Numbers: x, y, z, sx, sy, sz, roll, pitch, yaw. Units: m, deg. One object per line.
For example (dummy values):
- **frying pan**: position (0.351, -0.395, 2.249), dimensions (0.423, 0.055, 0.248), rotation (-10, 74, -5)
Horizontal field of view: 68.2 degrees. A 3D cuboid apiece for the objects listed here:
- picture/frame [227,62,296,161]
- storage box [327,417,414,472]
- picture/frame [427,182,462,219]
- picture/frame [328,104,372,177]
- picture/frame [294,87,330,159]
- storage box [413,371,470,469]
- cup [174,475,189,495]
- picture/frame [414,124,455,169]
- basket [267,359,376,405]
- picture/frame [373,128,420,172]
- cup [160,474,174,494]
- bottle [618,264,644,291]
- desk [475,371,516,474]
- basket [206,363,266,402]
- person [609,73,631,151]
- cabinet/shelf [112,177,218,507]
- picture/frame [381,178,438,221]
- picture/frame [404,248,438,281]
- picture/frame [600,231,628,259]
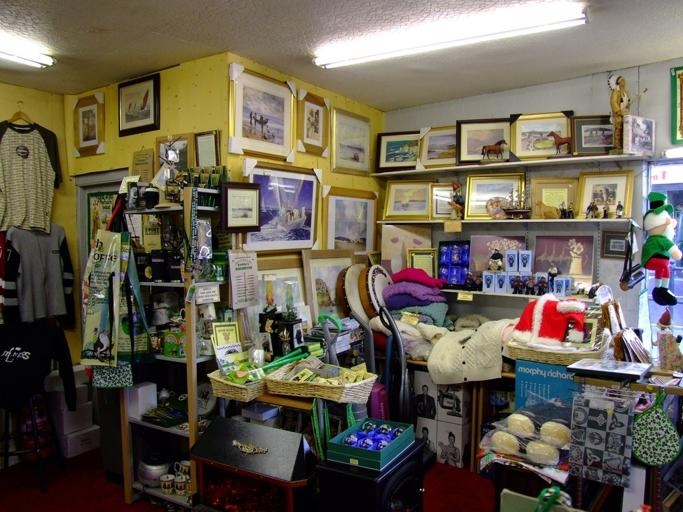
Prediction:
- **picture/frame**: position (-0.713, -1.247, 4.293), dimensions (0.070, 0.849, 0.853), rotation (4, 4, 37)
- **storage box**: position (0.195, 1.235, 3.354), dimensions (0.357, 0.190, 0.507), rotation (0, 1, 39)
- **picture/frame**: position (1.049, -0.566, 5.126), dimensions (0.398, 0.458, 0.032), rotation (-1, -5, 32)
- **picture/frame**: position (0.061, -1.214, 5.247), dimensions (0.057, 0.682, 0.820), rotation (4, 5, 35)
- **picture/frame**: position (-0.304, -1.277, 4.786), dimensions (0.072, 0.719, 0.689), rotation (5, 7, 34)
- **storage box**: position (0.881, 1.417, 4.480), dimensions (0.486, 0.786, 0.152), rotation (0, 1, 22)
- **cup**: position (-1.230, 1.744, 3.859), dimensions (0.109, 0.118, 0.114), rotation (1, 1, 0)
- **picture/frame**: position (0.977, -1.133, 5.243), dimensions (0.513, 0.454, 0.043), rotation (5, -1, 25)
- **basket**: position (-0.163, 0.862, 3.509), dimensions (0.542, 0.163, 0.369), rotation (-1, -3, 29)
- **picture/frame**: position (0.609, -1.143, 5.470), dimensions (0.514, 0.436, 0.040), rotation (4, 6, 28)
- **cup**: position (-1.349, 1.745, 3.895), dimensions (0.116, 0.119, 0.115), rotation (1, 4, 0)
- **bottle**: position (2.527, 0.170, 4.342), dimensions (0.251, 0.205, 0.097), rotation (-1, 1, -22)
- **desk**: position (1.288, 1.427, 4.394), dimensions (0.423, 0.756, 0.216), rotation (-1, 1, -29)
- **basket**: position (-0.771, 0.904, 3.629), dimensions (0.411, 0.199, 0.201), rotation (0, 1, 25)
- **person**: position (2.402, -1.253, 4.337), dimensions (0.166, 0.721, 0.334), rotation (0, 1, 28)
- **cabinet/shelf**: position (-1.348, 0.706, 3.975), dimensions (0.874, 2.444, 0.446), rotation (0, 1, 37)
- **picture/frame**: position (0.746, -0.605, 5.364), dimensions (0.467, 0.400, 0.047), rotation (-6, -17, 26)
- **picture/frame**: position (0.826, 0.058, 5.216), dimensions (0.316, 0.299, 0.158), rotation (0, 1, 6)
- **picture/frame**: position (2.416, -0.110, 4.454), dimensions (0.018, 0.248, 0.248), rotation (-2, 1, -43)
